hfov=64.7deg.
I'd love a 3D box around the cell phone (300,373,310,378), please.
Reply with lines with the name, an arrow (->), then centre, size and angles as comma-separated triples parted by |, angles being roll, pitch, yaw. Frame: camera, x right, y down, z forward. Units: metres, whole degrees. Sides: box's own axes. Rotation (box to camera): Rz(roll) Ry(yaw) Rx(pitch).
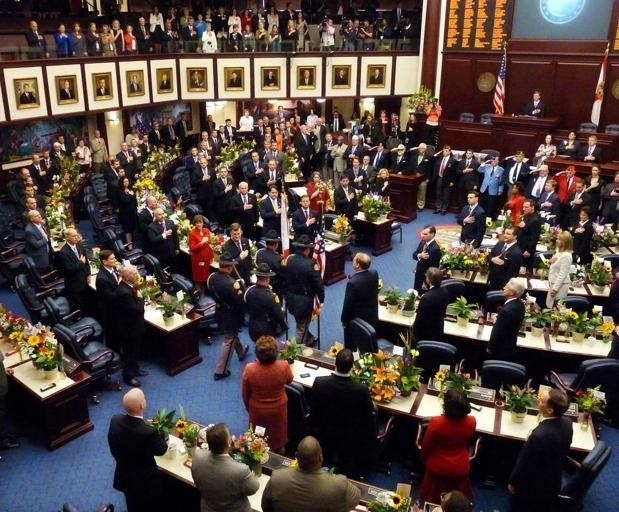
cell phone -> -0.051, 1.574, 6.466 | 0.137, 0.007, 0.094 | -2, 22, -4

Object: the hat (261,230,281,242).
hat -> -0.631, -0.336, 8.298 | 0.324, 0.154, 0.369 | 8, 6, 3

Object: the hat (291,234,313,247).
hat -> -0.099, -0.227, 7.682 | 0.254, 0.112, 0.266 | 11, 3, 5

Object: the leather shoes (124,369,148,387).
leather shoes -> -2.869, 2.008, 8.028 | 0.220, 0.094, 0.273 | 4, 24, 12

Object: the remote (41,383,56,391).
remote -> -3.495, 1.751, 6.541 | 0.191, 0.034, 0.113 | -15, 26, -32

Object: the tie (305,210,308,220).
tie -> -0.070, -0.884, 10.436 | 0.041, 0.194, 0.048 | 2, -7, -7

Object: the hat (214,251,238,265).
hat -> -1.234, 0.051, 7.397 | 0.278, 0.115, 0.293 | 2, 12, -3

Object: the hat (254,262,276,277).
hat -> -0.636, 0.195, 6.903 | 0.197, 0.085, 0.205 | 9, 16, 1

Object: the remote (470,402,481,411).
remote -> 2.039, 1.841, 5.992 | 0.115, 0.023, 0.139 | 5, 22, 14
